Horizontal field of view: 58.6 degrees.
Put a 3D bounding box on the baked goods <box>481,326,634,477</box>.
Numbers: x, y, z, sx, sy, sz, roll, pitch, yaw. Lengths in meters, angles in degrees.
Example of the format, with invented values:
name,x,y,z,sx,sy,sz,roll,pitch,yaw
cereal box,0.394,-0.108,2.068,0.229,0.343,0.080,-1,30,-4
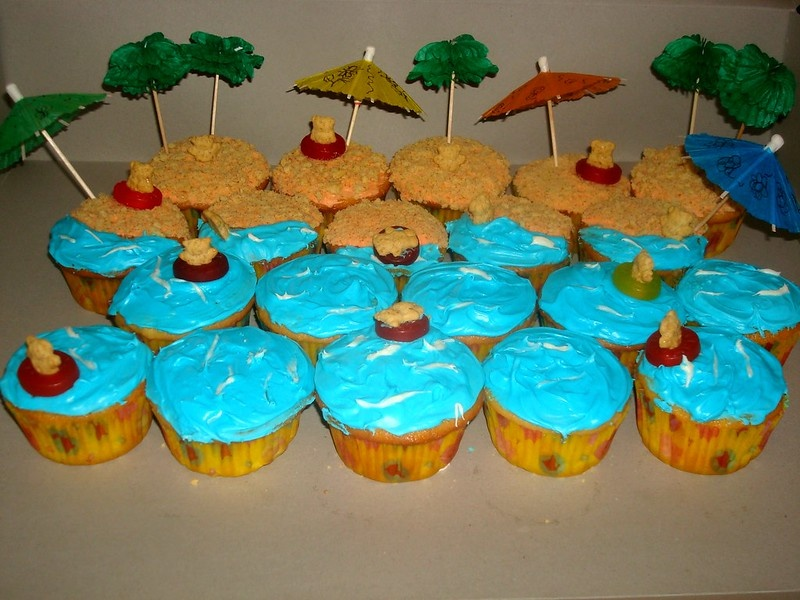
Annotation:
name,x,y,z,sx,sy,sz,roll,pitch,yaw
baked goods,0.864,0.562,4.173,0.915,0.604,0.846,-17,41,-27

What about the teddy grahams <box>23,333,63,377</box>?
name,x,y,z,sx,sy,sz,roll,pitch,yaw
teddy grahams,-1.859,0.296,3.741,0.143,0.225,0.083,-4,39,17

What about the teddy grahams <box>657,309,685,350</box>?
name,x,y,z,sx,sy,sz,roll,pitch,yaw
teddy grahams,1.480,0.157,3.867,0.139,0.200,0.048,-8,21,-11

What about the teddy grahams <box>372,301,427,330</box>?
name,x,y,z,sx,sy,sz,roll,pitch,yaw
teddy grahams,0.002,0.074,3.848,0.187,0.053,0.151,-23,37,-30
